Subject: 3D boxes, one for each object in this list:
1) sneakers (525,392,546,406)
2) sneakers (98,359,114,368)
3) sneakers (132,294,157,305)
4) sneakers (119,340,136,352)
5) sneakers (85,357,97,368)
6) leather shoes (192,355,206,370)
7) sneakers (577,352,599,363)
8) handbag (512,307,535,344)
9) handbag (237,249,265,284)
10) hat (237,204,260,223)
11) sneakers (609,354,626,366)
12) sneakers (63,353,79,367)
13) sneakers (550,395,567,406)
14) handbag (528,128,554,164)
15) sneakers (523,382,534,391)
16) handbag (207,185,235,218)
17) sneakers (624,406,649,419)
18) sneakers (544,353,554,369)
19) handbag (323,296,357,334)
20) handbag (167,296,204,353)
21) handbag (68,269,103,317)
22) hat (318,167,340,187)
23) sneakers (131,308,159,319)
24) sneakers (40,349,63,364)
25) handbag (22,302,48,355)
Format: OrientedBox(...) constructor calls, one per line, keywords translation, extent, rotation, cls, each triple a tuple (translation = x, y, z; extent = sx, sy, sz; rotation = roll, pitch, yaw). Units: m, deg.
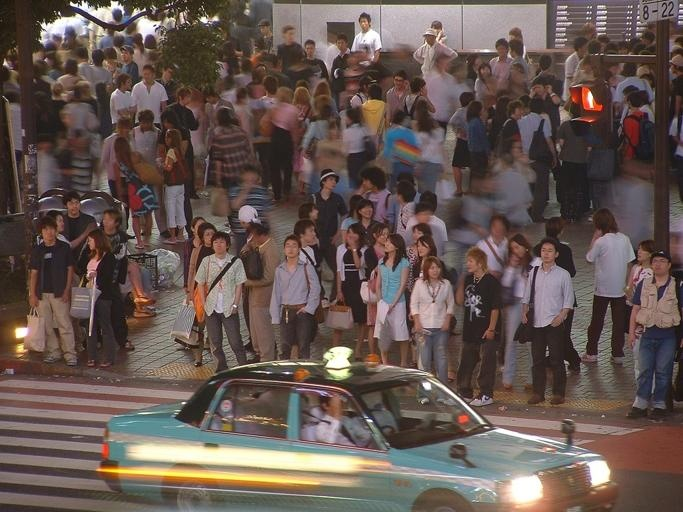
OrientedBox(translation=(2.678, 1.952, 11.355), extent=(0.291, 0.120, 0.105), rotation=(-1, 2, -42), cls="sneakers")
OrientedBox(translation=(-3.722, 1.698, 13.141), extent=(0.097, 0.104, 0.263), rotation=(0, -4, 10), cls="sneakers")
OrientedBox(translation=(-3.615, 0.787, 15.215), extent=(0.416, 0.164, 0.162), rotation=(-1, -9, 14), cls="sneakers")
OrientedBox(translation=(-3.586, 1.492, 13.862), extent=(0.115, 0.124, 0.293), rotation=(-2, -22, -5), cls="sneakers")
OrientedBox(translation=(-3.988, 1.693, 13.221), extent=(0.088, 0.109, 0.261), rotation=(-1, 7, -22), cls="sneakers")
OrientedBox(translation=(-2.287, 1.700, 13.274), extent=(0.203, 0.148, 0.575), rotation=(-2, 0, -4), cls="leather shoes")
OrientedBox(translation=(3.873, 1.574, 12.859), extent=(0.241, 0.098, 0.133), rotation=(-4, 11, 26), cls="sneakers")
OrientedBox(translation=(2.522, 0.972, 11.435), extent=(0.153, 0.465, 0.346), rotation=(-4, 11, -15), cls="handbag")
OrientedBox(translation=(-1.335, 0.163, 12.377), extent=(0.508, 0.534, 0.279), rotation=(-1, -1, 20), cls="handbag")
OrientedBox(translation=(-1.479, -0.681, 13.324), extent=(0.258, 0.206, 0.424), rotation=(-3, 2, 1), cls="hat")
OrientedBox(translation=(4.287, 1.597, 12.761), extent=(0.160, 0.154, 0.433), rotation=(0, -2, -1), cls="sneakers")
OrientedBox(translation=(-4.348, 1.656, 13.227), extent=(0.114, 0.143, 0.342), rotation=(0, -2, -11), cls="sneakers")
OrientedBox(translation=(2.975, 1.966, 11.311), extent=(0.091, 0.085, 0.221), rotation=(4, 11, 25), cls="sneakers")
OrientedBox(translation=(4.259, -2.355, 17.598), extent=(0.593, 0.778, 0.308), rotation=(7, 19, 18), cls="handbag")
OrientedBox(translation=(2.713, 1.875, 11.919), extent=(0.120, 0.082, 0.122), rotation=(-2, 6, 25), cls="sneakers")
OrientedBox(translation=(-2.331, -1.079, 16.001), extent=(0.261, 0.603, 1.106), rotation=(-4, 11, -16), cls="handbag")
OrientedBox(translation=(3.890, 2.047, 10.878), extent=(0.346, 0.147, 0.117), rotation=(1, 2, -22), cls="sneakers")
OrientedBox(translation=(2.883, 1.436, 11.431), extent=(0.131, 0.230, 0.169), rotation=(0, 41, 11), cls="sneakers")
OrientedBox(translation=(-0.006, 0.945, 12.503), extent=(0.391, 0.437, 0.321), rotation=(2, 11, 17), cls="handbag")
OrientedBox(translation=(-2.477, 1.063, 13.177), extent=(0.485, 0.780, 0.270), rotation=(2, 11, 16), cls="handbag")
OrientedBox(translation=(-4.042, 0.599, 13.072), extent=(0.488, 0.790, 0.239), rotation=(27, 3, 11), cls="handbag")
OrientedBox(translation=(-0.253, -1.456, 14.428), extent=(0.356, 0.187, 0.309), rotation=(-14, -19, 27), cls="hat")
OrientedBox(translation=(-3.640, 1.058, 15.248), extent=(0.337, 0.130, 0.167), rotation=(-2, 5, 2), cls="sneakers")
OrientedBox(translation=(-4.733, 1.592, 13.559), extent=(0.297, 0.186, 0.418), rotation=(-5, 11, -21), cls="sneakers")
OrientedBox(translation=(-4.881, 1.202, 13.154), extent=(0.320, 0.695, 0.458), rotation=(-6, 11, -26), cls="handbag")
